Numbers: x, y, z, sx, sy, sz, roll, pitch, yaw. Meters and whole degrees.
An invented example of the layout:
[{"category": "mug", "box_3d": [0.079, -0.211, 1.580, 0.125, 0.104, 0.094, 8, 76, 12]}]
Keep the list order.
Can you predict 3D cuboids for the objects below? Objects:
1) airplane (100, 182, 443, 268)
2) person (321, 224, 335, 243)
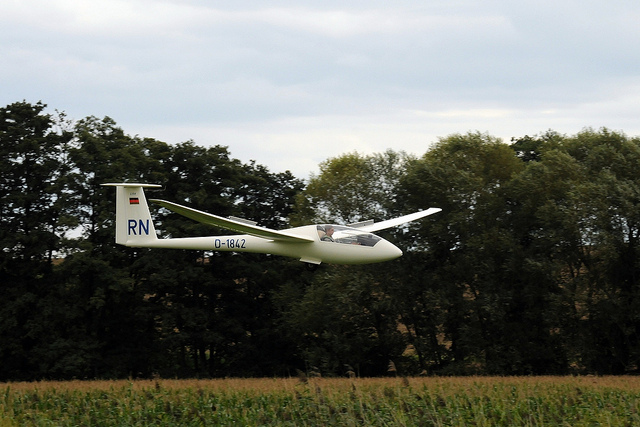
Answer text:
[{"category": "airplane", "box_3d": [-3.687, 0.644, 52.303, 16.759, 4.875, 5.284, -1, 7, -7]}, {"category": "person", "box_3d": [0.468, 1.212, 51.765, 0.780, 0.996, 0.562, -1, 9, 1]}]
